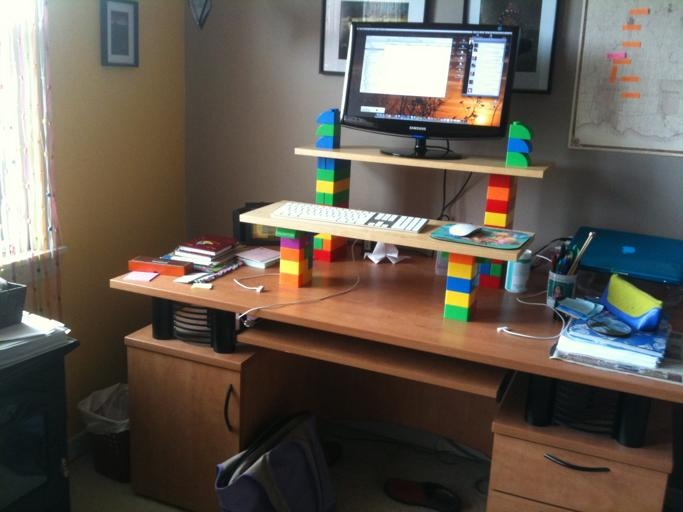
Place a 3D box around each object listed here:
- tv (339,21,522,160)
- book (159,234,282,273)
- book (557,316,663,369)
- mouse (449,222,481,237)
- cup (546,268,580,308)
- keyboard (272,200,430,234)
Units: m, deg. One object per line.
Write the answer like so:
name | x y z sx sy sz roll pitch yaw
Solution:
tv | 0.373 -0.676 2.307 0.584 0.416 0.172 7 20 14
book | -0.481 -0.006 2.388 0.246 0.063 0.259 8 14 29
book | 0.869 0.263 1.831 0.295 0.072 0.280 12 17 28
mouse | 0.419 -0.096 2.013 0.066 0.020 0.065 19 31 38
cup | 0.800 0.112 2.093 0.125 0.134 0.112 8 11 29
keyboard | 0.023 -0.145 2.148 0.578 0.035 0.195 8 16 18
